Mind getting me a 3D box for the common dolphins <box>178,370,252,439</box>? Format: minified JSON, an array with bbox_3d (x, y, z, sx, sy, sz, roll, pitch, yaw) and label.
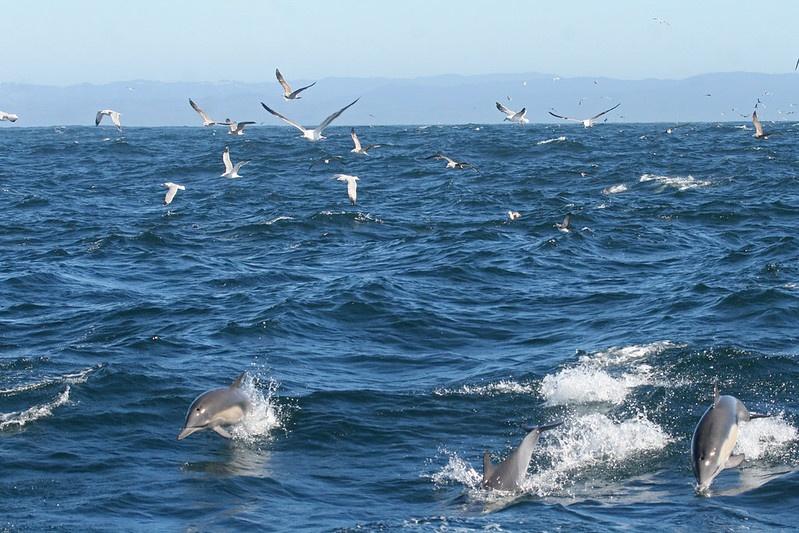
[{"bbox_3d":[-4.920,3.822,29.935,1.033,1.164,2.965,14,17,16],"label":"common dolphins"}]
